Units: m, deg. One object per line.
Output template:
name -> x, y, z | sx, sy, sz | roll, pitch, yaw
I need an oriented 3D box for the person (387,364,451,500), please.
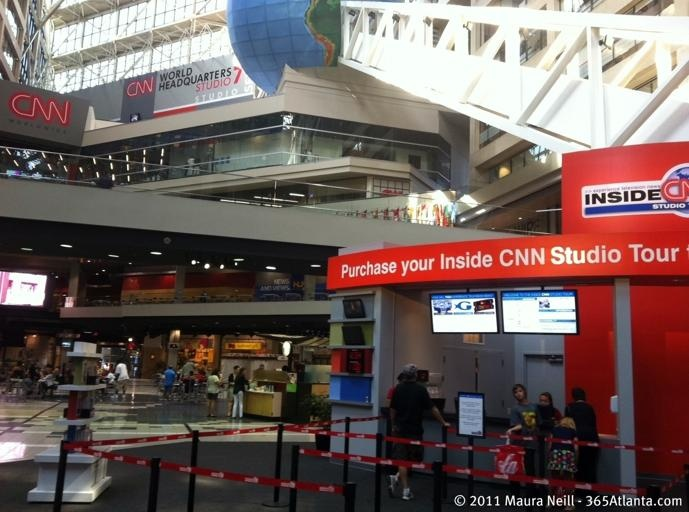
person -> 1.087, 2.684, 8.901 | 0.743, 1.971, 1.556 | 0, -12, 7

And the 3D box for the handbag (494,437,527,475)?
handbag -> 2.367, 2.915, 8.158 | 0.427, 0.460, 0.259 | -15, -39, 31

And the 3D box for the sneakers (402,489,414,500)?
sneakers -> 0.966, 3.563, 8.630 | 0.084, 0.111, 0.259 | 0, -5, 18

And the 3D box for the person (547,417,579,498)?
person -> 3.168, 2.960, 8.306 | 0.394, 1.242, 0.627 | -2, -12, 19

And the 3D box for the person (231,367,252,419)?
person -> -3.132, 4.115, 17.338 | 0.440, 1.503, 1.453 | 4, -12, -10

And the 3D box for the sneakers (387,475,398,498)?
sneakers -> 0.769, 3.450, 8.708 | 0.174, 0.338, 0.119 | -10, 6, -43

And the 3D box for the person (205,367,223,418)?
person -> -4.095, 4.244, 17.999 | 0.346, 1.373, 1.899 | 4, -11, -12

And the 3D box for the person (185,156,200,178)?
person -> -4.668, -2.716, 17.648 | 0.570, 0.309, 0.888 | -3, 21, -22
